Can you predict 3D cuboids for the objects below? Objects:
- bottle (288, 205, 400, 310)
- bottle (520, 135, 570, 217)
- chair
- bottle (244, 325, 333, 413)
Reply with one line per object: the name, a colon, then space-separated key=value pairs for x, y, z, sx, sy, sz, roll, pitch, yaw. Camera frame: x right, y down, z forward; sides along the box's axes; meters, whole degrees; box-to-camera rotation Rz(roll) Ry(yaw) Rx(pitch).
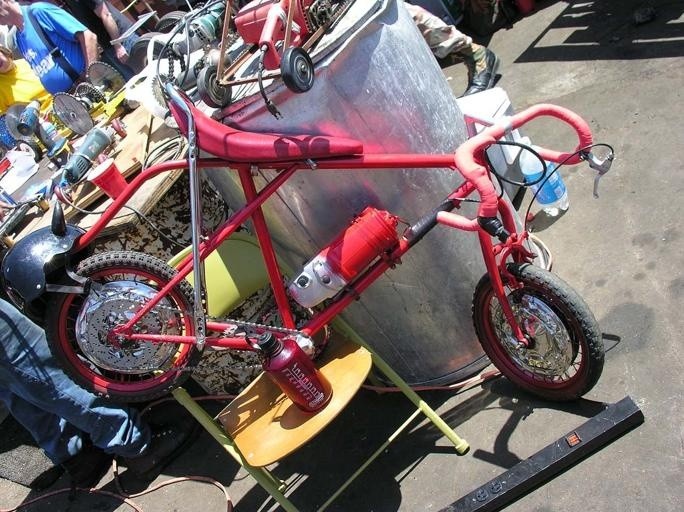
bottle: x=0.002 y=0.050 z=2.814 sx=0.578 sy=0.220 sz=0.300 roll=-45 pitch=27 yaw=-11
bottle: x=1.337 y=-0.489 z=3.679 sx=0.244 sy=0.612 sz=0.229 roll=-29 pitch=31 yaw=20
chair: x=-0.141 y=0.624 z=3.069 sx=0.848 sy=1.369 sz=0.973 roll=-41 pitch=6 yaw=-6
bottle: x=-0.250 y=0.555 z=2.821 sx=0.218 sy=0.518 sz=0.231 roll=-23 pitch=34 yaw=16
